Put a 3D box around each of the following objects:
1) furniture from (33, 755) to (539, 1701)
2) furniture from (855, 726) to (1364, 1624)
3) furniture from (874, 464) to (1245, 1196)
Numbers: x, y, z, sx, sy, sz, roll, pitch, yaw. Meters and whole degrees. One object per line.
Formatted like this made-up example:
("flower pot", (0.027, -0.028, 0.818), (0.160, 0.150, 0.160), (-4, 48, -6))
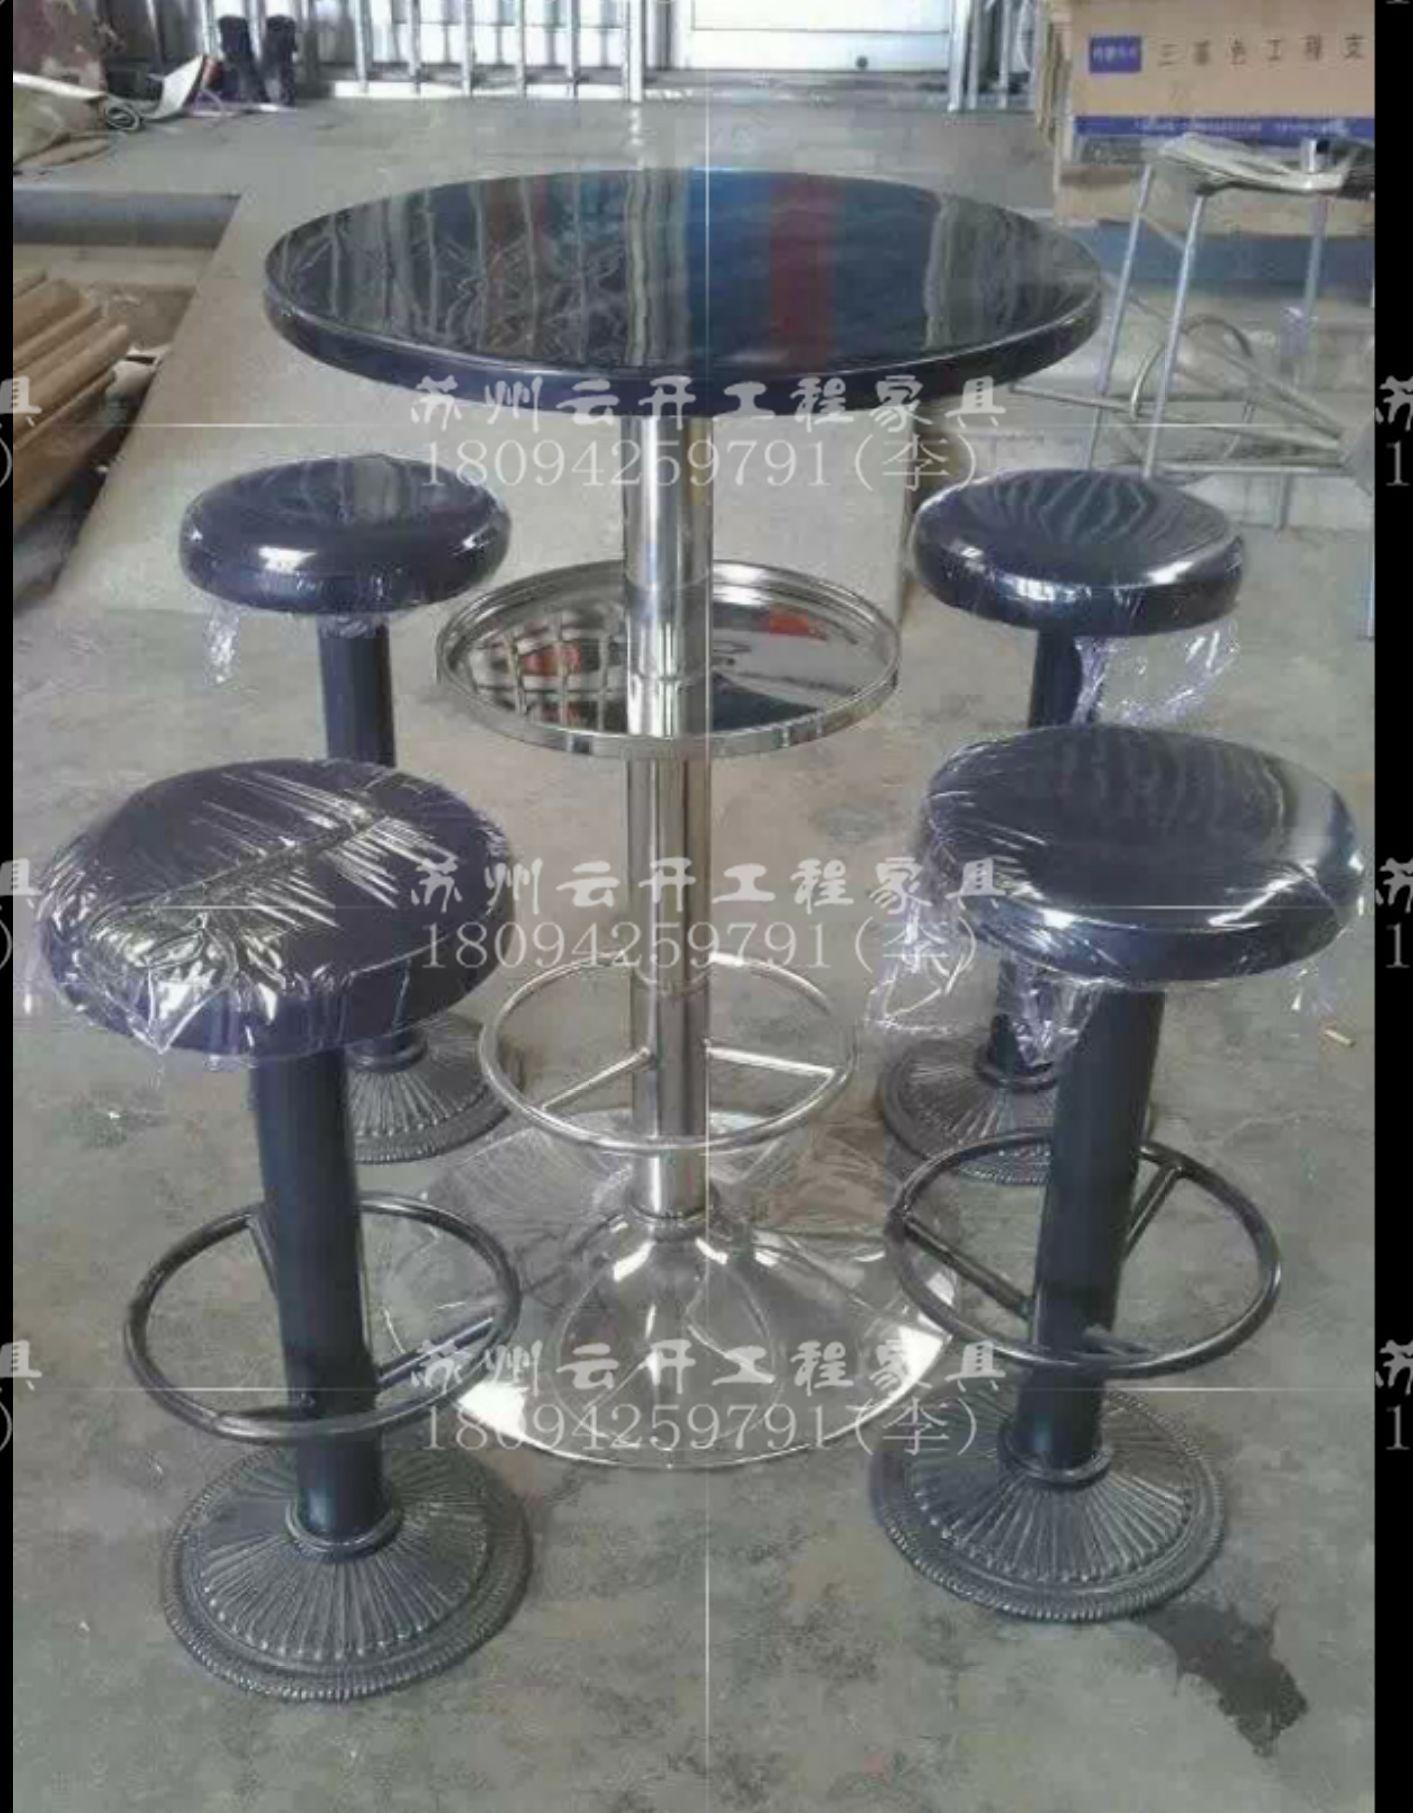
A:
("furniture", (-0.353, 0.297, 1.446), (0.357, 0.762, 0.362), (9, 23, 24))
("furniture", (0.347, 0.268, 1.473), (0.349, 0.706, 0.329), (-2, 22, -10))
("furniture", (0.286, -0.045, 1.365), (0.250, 0.633, 0.105), (-8, 27, -17))
